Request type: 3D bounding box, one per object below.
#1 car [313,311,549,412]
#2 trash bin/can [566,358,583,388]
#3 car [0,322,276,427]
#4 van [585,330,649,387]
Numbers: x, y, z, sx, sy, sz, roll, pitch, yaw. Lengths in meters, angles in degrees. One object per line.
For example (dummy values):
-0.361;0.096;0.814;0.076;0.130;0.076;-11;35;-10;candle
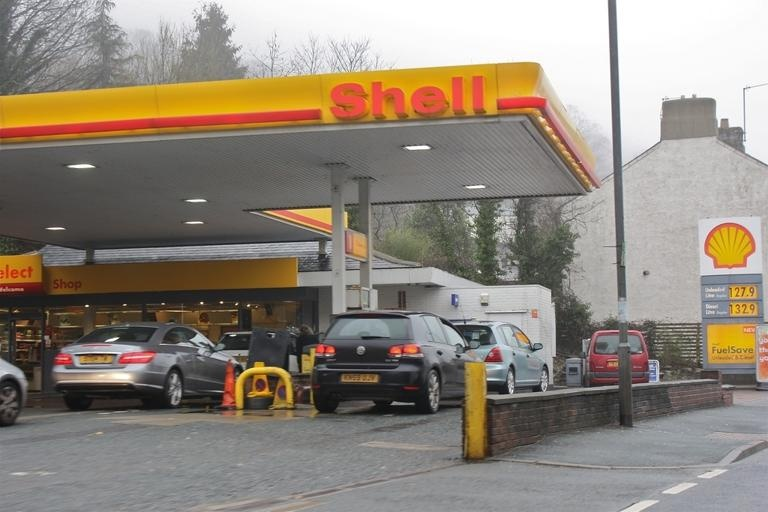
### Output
0.102;2.332;19.323;3.395;2.292;1.703;0;-6;-12;car
6.958;4.287;32.154;0.494;1.018;1.014;-3;-6;18;trash bin/can
-5.552;2.659;20.855;2.436;1.470;4.988;-3;-5;21;car
8.018;3.551;30.000;2.480;1.820;3.933;0;0;11;van
